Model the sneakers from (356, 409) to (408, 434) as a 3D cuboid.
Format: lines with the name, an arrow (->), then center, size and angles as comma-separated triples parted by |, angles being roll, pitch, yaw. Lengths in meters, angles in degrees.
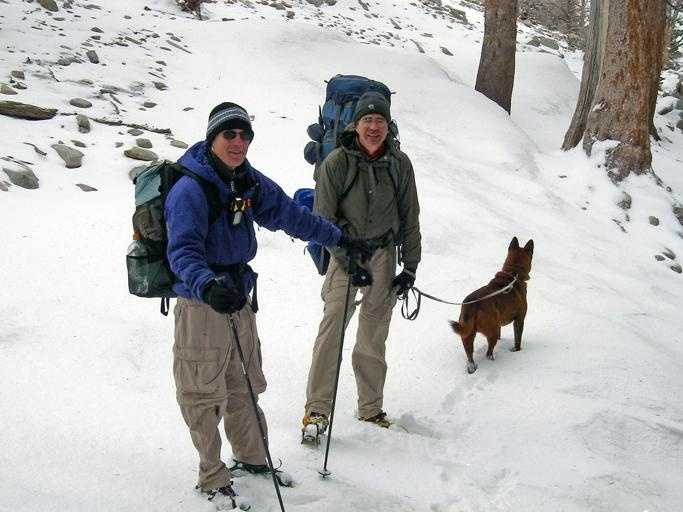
sneakers -> 0.450, 1.819, 7.647 | 0.617, 0.268, 0.220 | 10, -11, 4

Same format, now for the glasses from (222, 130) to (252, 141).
glasses -> -0.912, -1.088, 6.258 | 0.303, 0.101, 0.115 | -7, 20, -36

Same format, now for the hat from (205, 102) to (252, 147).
hat -> -1.059, -1.193, 6.340 | 0.389, 0.355, 0.384 | -5, 13, -42

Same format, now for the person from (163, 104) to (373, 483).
person -> -0.975, 0.372, 6.443 | 1.031, 3.457, 1.229 | 16, 20, 32

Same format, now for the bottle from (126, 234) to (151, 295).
bottle -> -1.831, 0.087, 6.170 | 0.144, 0.548, 0.318 | -8, 21, -37

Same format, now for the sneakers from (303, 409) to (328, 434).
sneakers -> -0.265, 1.720, 7.268 | 0.203, 0.245, 0.264 | 2, 10, 7

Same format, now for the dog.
dog -> 1.895, 0.596, 8.439 | 0.635, 1.575, 1.150 | 19, 21, 39

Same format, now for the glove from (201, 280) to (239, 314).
glove -> -1.016, 0.348, 5.865 | 0.247, 0.313, 0.128 | -36, 16, 9

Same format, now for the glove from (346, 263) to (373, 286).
glove -> 0.185, 0.202, 6.907 | 0.196, 0.248, 0.106 | 10, 0, -9

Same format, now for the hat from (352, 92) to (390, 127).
hat -> 0.337, -1.559, 7.385 | 0.287, 0.296, 0.384 | 2, 1, 12

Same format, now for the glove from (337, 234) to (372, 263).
glove -> 0.170, -0.105, 6.893 | 0.347, 0.228, 0.130 | 34, 55, -2
